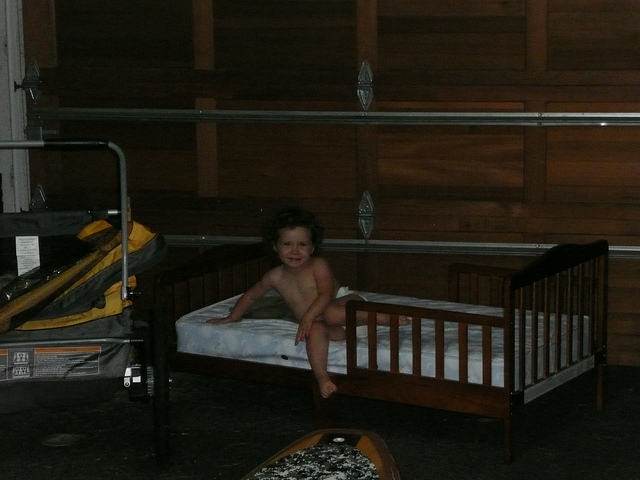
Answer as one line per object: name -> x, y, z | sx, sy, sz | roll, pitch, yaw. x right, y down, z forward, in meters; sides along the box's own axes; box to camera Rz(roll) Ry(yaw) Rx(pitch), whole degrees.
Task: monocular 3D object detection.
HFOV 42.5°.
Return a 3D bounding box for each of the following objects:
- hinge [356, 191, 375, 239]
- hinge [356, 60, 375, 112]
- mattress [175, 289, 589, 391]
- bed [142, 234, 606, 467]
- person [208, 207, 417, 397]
hinge -> 0.323, -0.170, 5.663 | 0.108, 0.329, 0.041 | -2, 14, -2
hinge -> 0.317, -1.045, 5.587 | 0.113, 0.330, 0.054 | -2, 14, -3
mattress -> 0.337, 0.461, 4.509 | 2.075, 0.326, 0.881 | 4, 13, 22
bed -> 0.328, 0.472, 4.545 | 2.412, 1.014, 1.964 | 3, 12, 17
person -> 0.032, 0.281, 4.602 | 1.250, 0.628, 1.071 | 3, 11, 20
